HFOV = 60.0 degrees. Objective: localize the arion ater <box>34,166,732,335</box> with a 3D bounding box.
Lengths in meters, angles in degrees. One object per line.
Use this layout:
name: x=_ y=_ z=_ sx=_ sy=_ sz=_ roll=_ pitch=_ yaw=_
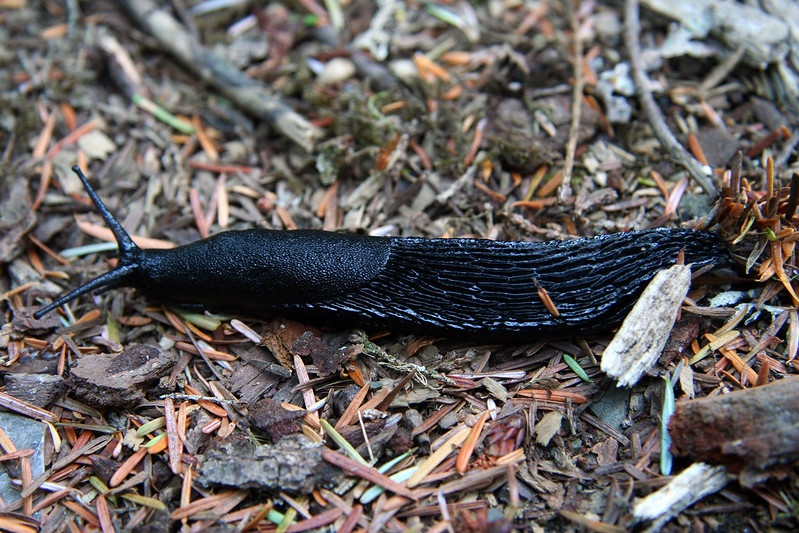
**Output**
arion ater: x=0.066 y=0.092 z=3.763 sx=3.318 sy=0.470 sz=0.478 roll=1 pitch=42 yaw=4
